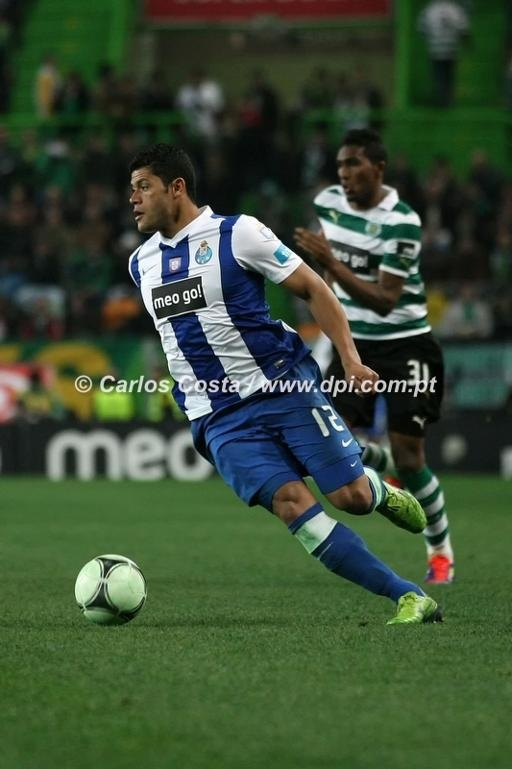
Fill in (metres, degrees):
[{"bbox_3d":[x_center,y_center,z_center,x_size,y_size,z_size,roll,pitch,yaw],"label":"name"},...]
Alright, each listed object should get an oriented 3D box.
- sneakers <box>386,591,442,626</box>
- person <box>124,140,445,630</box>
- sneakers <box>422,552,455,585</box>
[{"bbox_3d":[0.543,0.780,3.022,0.082,0.086,0.229,-19,-19,40],"label":"sneakers"},{"bbox_3d":[0.040,-0.030,3.064,1.002,1.617,0.381,7,14,39],"label":"person"},{"bbox_3d":[0.918,0.935,4.434,0.165,0.158,0.392,-3,-11,8],"label":"sneakers"}]
